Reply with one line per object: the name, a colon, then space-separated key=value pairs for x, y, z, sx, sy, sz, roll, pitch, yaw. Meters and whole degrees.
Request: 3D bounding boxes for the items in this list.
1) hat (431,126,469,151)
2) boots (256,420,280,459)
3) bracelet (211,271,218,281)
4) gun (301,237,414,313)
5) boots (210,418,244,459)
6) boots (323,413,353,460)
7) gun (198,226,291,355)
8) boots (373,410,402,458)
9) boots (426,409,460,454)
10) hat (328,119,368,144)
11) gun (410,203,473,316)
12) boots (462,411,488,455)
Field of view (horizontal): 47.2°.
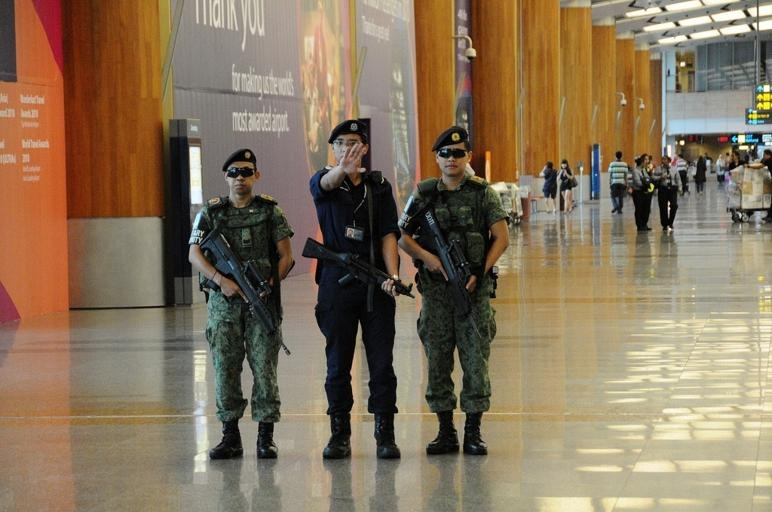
hat: x=0.499 y=-0.920 z=6.985 sx=0.264 sy=0.173 sz=0.334 roll=-1 pitch=8 yaw=-1
boots: x=-0.953 y=1.407 z=6.878 sx=0.116 sy=0.263 sz=0.343 roll=3 pitch=-4 yaw=-19
bracelet: x=-1.337 y=0.152 z=6.800 sx=0.033 sy=0.053 sz=0.048 roll=11 pitch=-33 yaw=-2
gun: x=-0.239 y=0.126 z=6.786 sx=0.825 sy=0.516 sz=0.184 roll=1 pitch=6 yaw=14
boots: x=-1.250 y=1.412 z=6.869 sx=0.138 sy=0.317 sz=0.289 roll=-18 pitch=-15 yaw=37
boots: x=-0.387 y=1.388 z=6.837 sx=0.141 sy=0.345 sz=0.392 roll=-4 pitch=-9 yaw=21
gun: x=-1.128 y=0.232 z=6.856 sx=0.646 sy=0.889 sz=0.203 roll=1 pitch=5 yaw=19
boots: x=-0.018 y=1.391 z=6.821 sx=0.131 sy=0.354 sz=0.435 roll=3 pitch=-9 yaw=-10
boots: x=0.431 y=1.372 z=6.890 sx=0.279 sy=0.317 sz=0.140 roll=-1 pitch=-9 yaw=-26
hat: x=-0.299 y=-0.965 z=6.855 sx=0.281 sy=0.176 sz=0.428 roll=-2 pitch=8 yaw=-5
gun: x=0.443 y=0.008 z=6.862 sx=0.330 sy=0.905 sz=0.121 roll=-31 pitch=-20 yaw=35
boots: x=0.692 y=1.351 z=6.832 sx=0.130 sy=0.307 sz=0.281 roll=6 pitch=4 yaw=-26
